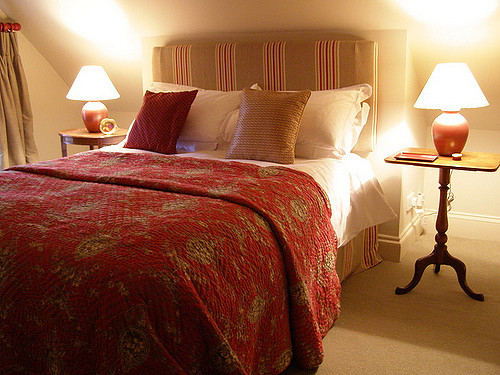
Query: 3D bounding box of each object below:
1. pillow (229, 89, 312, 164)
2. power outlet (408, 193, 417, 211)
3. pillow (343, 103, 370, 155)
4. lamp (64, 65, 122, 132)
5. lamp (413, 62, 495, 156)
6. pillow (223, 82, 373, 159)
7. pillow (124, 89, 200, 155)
[{"bbox_3d":[0.124,-0.380,2.389,0.511,0.472,0.159,7,-8,33],"label":"pillow"},{"bbox_3d":[1.225,0.100,2.875,0.057,0.085,0.196,1,9,27],"label":"power outlet"},{"bbox_3d":[0.703,-0.404,2.599,0.092,0.317,0.286,19,-28,18],"label":"pillow"},{"bbox_3d":[-1.431,-0.796,3.491,0.497,0.574,0.493,-5,12,-19],"label":"lamp"},{"bbox_3d":[1.208,-0.459,2.300,0.414,0.522,0.429,0,8,9],"label":"lamp"},{"bbox_3d":[0.364,-0.436,2.380,0.701,0.579,0.212,2,-7,6],"label":"pillow"},{"bbox_3d":[-0.599,-0.450,2.730,0.485,0.467,0.151,8,-12,32],"label":"pillow"}]
